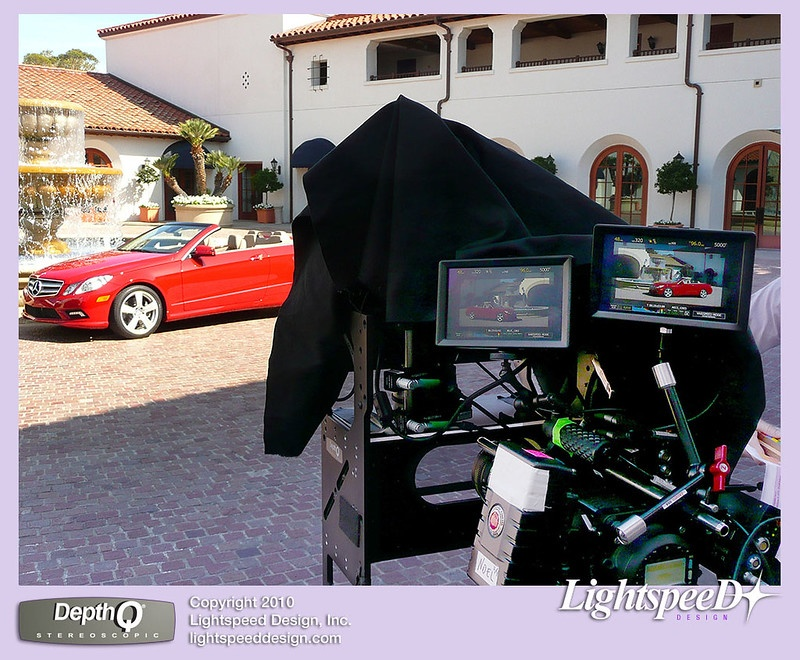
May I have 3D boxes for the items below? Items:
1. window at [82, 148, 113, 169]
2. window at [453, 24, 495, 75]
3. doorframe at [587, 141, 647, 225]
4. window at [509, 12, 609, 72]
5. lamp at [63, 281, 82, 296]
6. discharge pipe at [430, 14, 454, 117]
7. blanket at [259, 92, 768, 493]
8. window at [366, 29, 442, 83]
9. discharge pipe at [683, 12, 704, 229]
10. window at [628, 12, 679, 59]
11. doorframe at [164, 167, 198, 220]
[{"bbox_3d":[-14.030,-8.143,31.321,1.070,0.762,0.709,-4,11,-25],"label":"window"},{"bbox_3d":[3.048,-12.336,29.597,1.100,1.601,1.578,9,18,-27],"label":"window"},{"bbox_3d":[7.930,-5.205,24.330,1.987,3.135,0.187,3,-4,10],"label":"doorframe"},{"bbox_3d":[6.734,-12.059,27.705,3.081,0.946,3.705,3,12,15],"label":"window"},{"bbox_3d":[-4.763,-0.607,9.746,0.244,0.188,0.116,-2,10,-17],"label":"lamp"},{"bbox_3d":[1.744,-10.080,26.165,0.653,4.163,1.111,-12,26,-31],"label":"discharge pipe"},{"bbox_3d":[0.361,-0.198,3.393,2.078,1.706,1.121,-4,9,-12],"label":"blanket"},{"bbox_3d":[0.278,-12.648,31.173,3.118,2.117,2.328,-1,12,7],"label":"window"},{"bbox_3d":[9.652,-6.812,22.202,0.260,7.189,0.667,-27,35,-20],"label":"discharge pipe"},{"bbox_3d":[9.770,-11.223,25.085,1.182,1.778,1.522,-7,22,7],"label":"window"},{"bbox_3d":[-10.945,-6.812,33.308,0.710,2.561,1.630,8,12,39],"label":"doorframe"}]
